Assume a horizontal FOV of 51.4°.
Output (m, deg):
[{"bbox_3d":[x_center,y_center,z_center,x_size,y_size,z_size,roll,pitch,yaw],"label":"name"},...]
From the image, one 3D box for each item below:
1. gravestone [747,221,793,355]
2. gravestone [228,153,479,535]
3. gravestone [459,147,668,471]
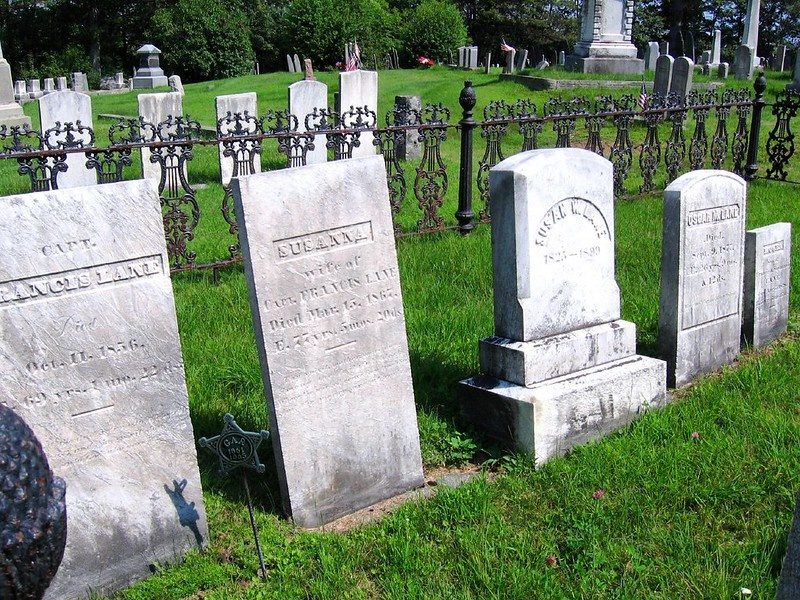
[{"bbox_3d":[2.885,-0.078,6.489,0.124,1.289,0.646,8,22,44],"label":"gravestone"},{"bbox_3d":[-0.369,0.243,4.698,0.960,1.977,0.398,-11,19,-31],"label":"gravestone"},{"bbox_3d":[1.053,-0.026,5.314,1.161,1.799,0.825,-15,21,-40],"label":"gravestone"}]
